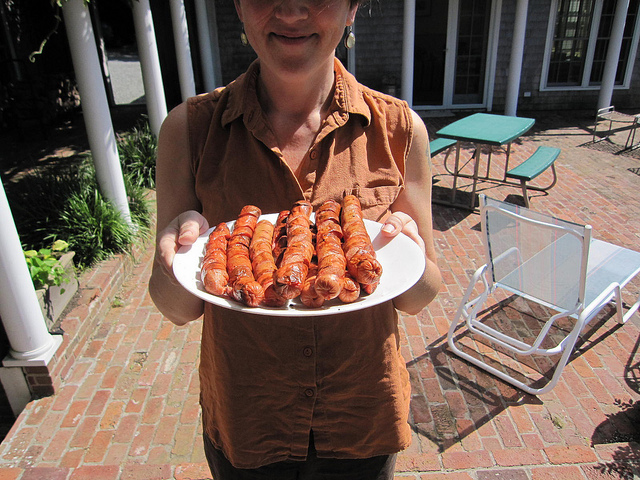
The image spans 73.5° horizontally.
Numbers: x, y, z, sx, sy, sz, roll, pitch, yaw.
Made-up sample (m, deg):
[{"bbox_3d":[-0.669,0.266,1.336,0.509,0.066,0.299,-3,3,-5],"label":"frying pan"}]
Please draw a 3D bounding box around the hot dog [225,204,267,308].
[{"bbox_3d":[-0.270,0.052,1.587,0.114,0.108,0.398,3,47,-3],"label":"hot dog"}]

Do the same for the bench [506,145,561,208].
[{"bbox_3d":[3.608,-1.079,7.350,0.516,0.697,1.819,26,36,33],"label":"bench"}]

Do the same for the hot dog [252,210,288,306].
[{"bbox_3d":[-0.210,0.073,1.698,0.124,0.498,0.117,-21,49,-15],"label":"hot dog"}]

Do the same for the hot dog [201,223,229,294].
[{"bbox_3d":[-0.390,0.062,1.632,0.105,0.093,0.349,9,37,-13],"label":"hot dog"}]

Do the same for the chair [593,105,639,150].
[{"bbox_3d":[7.829,-3.163,11.346,0.896,0.960,3.291,13,30,29],"label":"chair"}]

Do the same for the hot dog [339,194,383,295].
[{"bbox_3d":[0.124,-0.005,1.618,0.093,0.130,0.421,-20,42,10],"label":"hot dog"}]
